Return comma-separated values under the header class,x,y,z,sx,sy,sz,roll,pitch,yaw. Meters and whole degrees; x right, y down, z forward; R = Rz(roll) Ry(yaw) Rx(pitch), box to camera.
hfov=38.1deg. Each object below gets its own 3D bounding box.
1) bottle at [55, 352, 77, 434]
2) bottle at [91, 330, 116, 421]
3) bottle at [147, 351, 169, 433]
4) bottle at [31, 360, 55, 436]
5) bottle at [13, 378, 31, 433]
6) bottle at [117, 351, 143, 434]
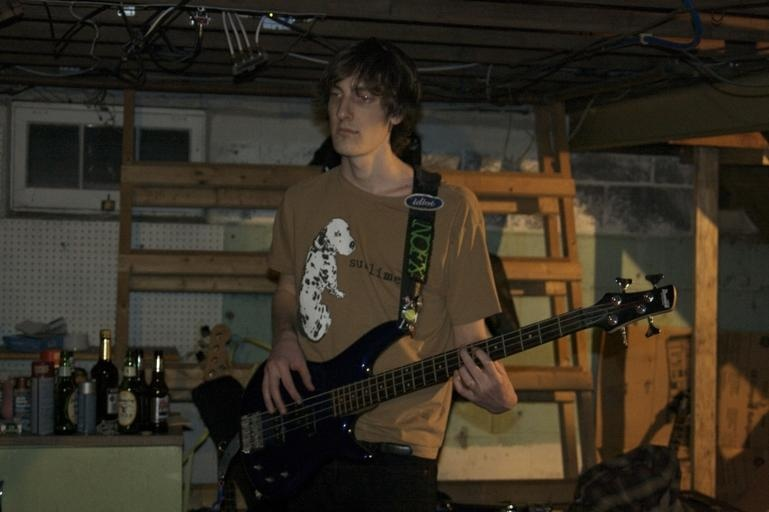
class,x,y,z,sx,sy,sz,roll,pitch,yaw
bottle,-2.439,1.065,8.663,0.125,0.642,0.213,-6,-8,33
bottle,-2.181,0.951,8.756,0.201,0.722,0.174,0,-7,-15
bottle,-1.761,1.075,8.773,0.156,0.642,0.235,0,-7,-12
bottle,-2.607,1.098,8.575,0.167,0.563,0.096,1,-7,-18
bottle,-2.795,1.157,8.648,0.119,0.422,0.106,1,-7,-19
bottle,-1.976,1.070,8.713,0.185,0.637,0.146,2,-8,-29
